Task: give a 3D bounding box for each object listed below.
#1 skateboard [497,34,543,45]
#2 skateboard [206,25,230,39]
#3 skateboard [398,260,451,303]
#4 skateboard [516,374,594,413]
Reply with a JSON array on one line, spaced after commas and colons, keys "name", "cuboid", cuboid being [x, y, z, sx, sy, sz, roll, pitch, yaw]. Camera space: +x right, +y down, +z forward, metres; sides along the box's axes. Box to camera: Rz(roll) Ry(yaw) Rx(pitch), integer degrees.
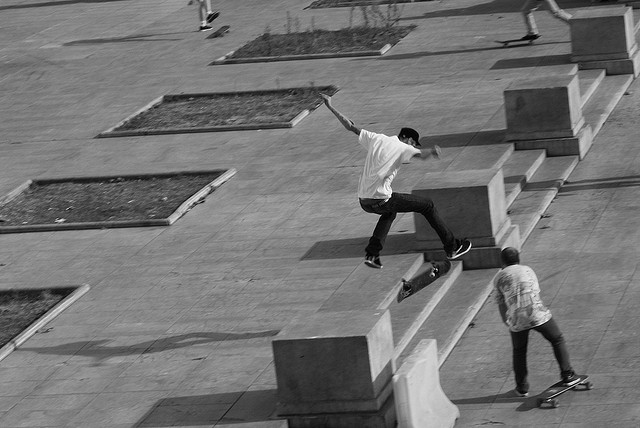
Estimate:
[{"name": "skateboard", "cuboid": [5.071, -4.430, 31.904, 0.878, 0.088, 0.351, -2, 18, 20]}, {"name": "skateboard", "cuboid": [-2.868, -5.360, 36.680, 0.301, 0.076, 0.865, 9, 29, 28]}, {"name": "skateboard", "cuboid": [1.731, 1.121, 21.090, 1.357, 0.391, 0.342, -22, 66, -10]}, {"name": "skateboard", "cuboid": [3.437, 2.707, 18.658, 1.440, 0.135, 0.433, -17, 24, -6]}]
